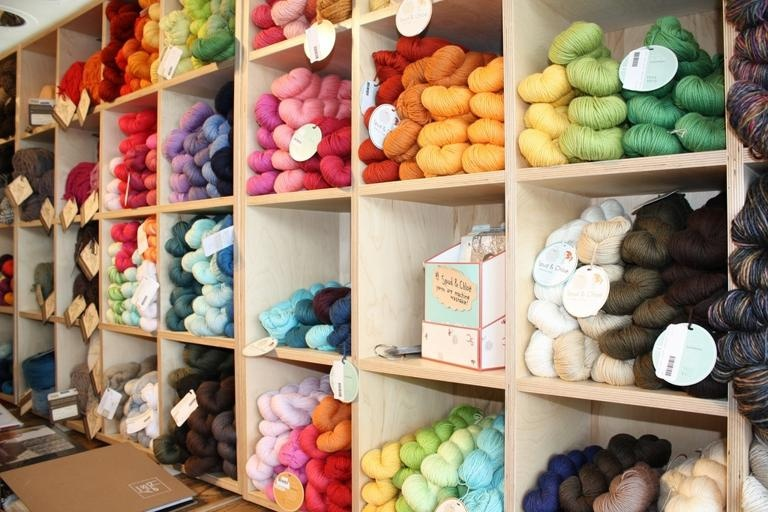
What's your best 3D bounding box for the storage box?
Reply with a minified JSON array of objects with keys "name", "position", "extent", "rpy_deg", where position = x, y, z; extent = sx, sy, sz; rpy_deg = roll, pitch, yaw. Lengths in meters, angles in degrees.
[{"name":"storage box","position":[0.275,0.137,1.790],"extent":[0.259,0.396,0.232],"rpy_deg":[5,1,35]}]
